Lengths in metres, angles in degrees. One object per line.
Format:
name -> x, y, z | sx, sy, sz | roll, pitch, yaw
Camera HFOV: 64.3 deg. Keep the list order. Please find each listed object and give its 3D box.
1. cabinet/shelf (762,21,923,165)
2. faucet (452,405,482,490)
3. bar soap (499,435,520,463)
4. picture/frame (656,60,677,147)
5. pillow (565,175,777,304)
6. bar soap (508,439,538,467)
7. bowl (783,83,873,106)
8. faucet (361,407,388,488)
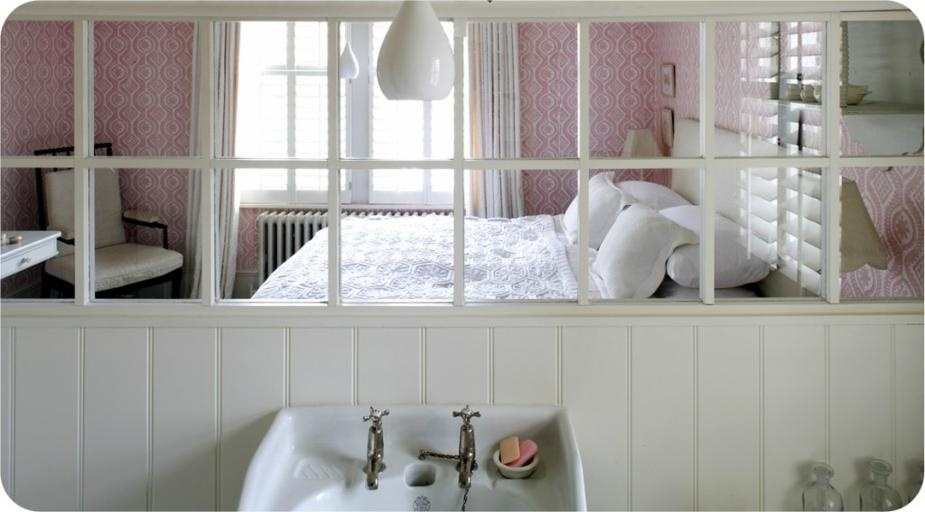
cabinet/shelf -> 1.775, -0.765, 3.553 | 0.732, 0.606, 0.169 | 3, 3, 6
faucet -> 0.012, 0.846, 3.267 | 0.106, 0.334, 0.200 | -4, -3, 15
bar soap -> 0.197, 0.865, 3.248 | 0.111, 0.098, 0.025 | -13, -25, 27
picture/frame -> 0.928, -0.678, 3.343 | 0.078, 0.387, 0.104 | -3, -4, 7
pillow -> 0.924, -0.098, 3.427 | 0.931, 0.585, 0.152 | -2, -4, -10
bar soap -> 0.271, 0.880, 3.261 | 0.131, 0.083, 0.034 | -17, -32, -29
bowl -> 1.686, -0.746, 3.368 | 0.407, 0.120, 0.059 | -2, -3, -6
faucet -> -0.386, 0.851, 3.282 | 0.118, 0.335, 0.191 | -2, -3, -6
